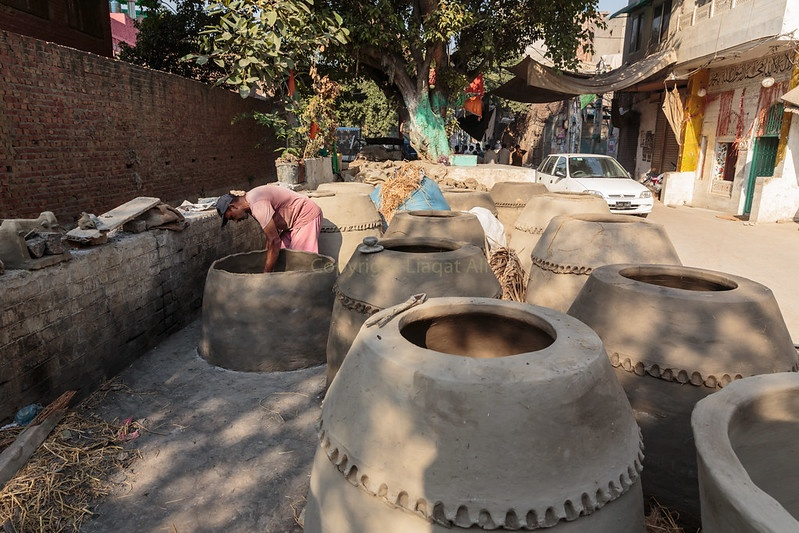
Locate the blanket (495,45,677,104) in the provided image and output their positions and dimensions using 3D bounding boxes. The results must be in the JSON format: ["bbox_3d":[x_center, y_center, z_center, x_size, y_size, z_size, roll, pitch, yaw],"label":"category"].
[{"bbox_3d":[6.044,-5.952,15.208,2.923,1.029,2.968,2,28,4],"label":"blanket"}]

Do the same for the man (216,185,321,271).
[{"bbox_3d":[-1.495,-0.523,5.618,0.876,0.879,1.124,8,19,30],"label":"man"}]

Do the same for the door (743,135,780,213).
[{"bbox_3d":[9.581,-2.416,12.497,0.375,2.035,0.734,-9,18,-23],"label":"door"}]

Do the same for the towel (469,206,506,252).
[{"bbox_3d":[1.242,-0.518,6.449,0.489,0.726,0.246,-12,-6,-20],"label":"towel"}]

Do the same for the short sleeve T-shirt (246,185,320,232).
[{"bbox_3d":[-1.429,-0.701,5.802,0.985,0.582,0.828,-5,14,-21],"label":"short sleeve T-shirt"}]

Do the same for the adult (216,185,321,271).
[{"bbox_3d":[-1.497,-0.523,5.620,0.875,0.879,1.131,7,19,29],"label":"adult"}]

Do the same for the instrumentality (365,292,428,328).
[{"bbox_3d":[-0.010,0.227,2.711,0.135,0.062,0.471,30,34,31],"label":"instrumentality"}]

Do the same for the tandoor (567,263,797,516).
[{"bbox_3d":[1.785,0.636,3.420,1.313,1.155,1.420,0,4,0],"label":"tandoor"}]
